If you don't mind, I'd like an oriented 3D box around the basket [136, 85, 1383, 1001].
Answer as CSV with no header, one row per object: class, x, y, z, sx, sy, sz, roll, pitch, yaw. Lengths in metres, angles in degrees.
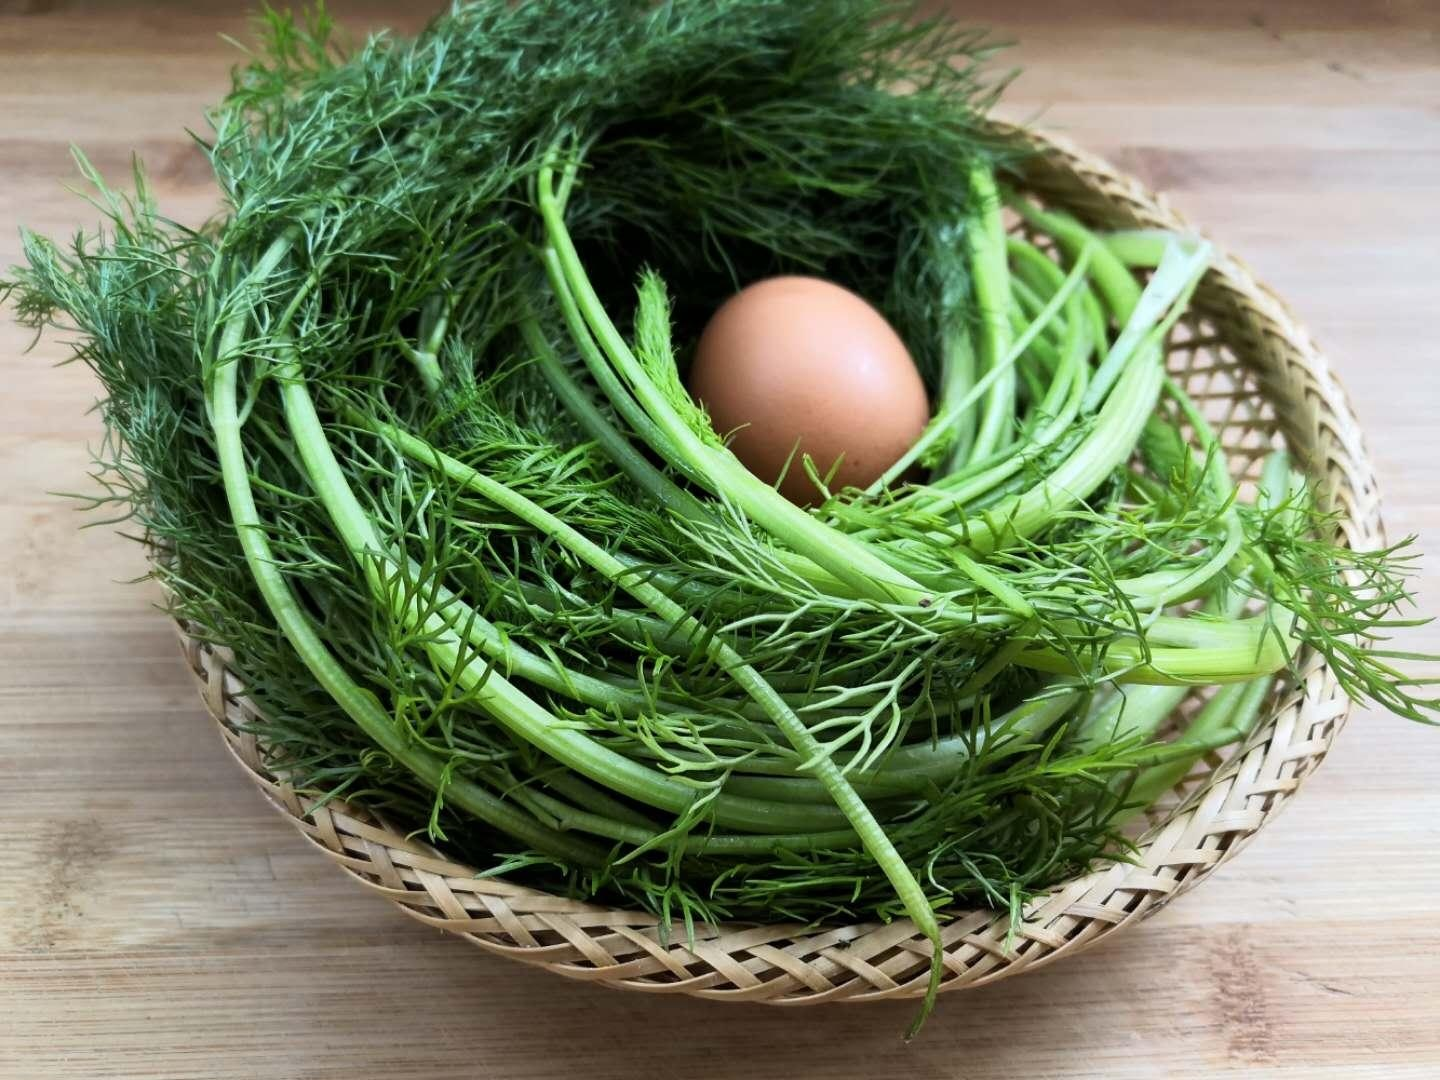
basket,0.193,0.023,1.167,0.840,0.628,0.561,-18,43,-43
